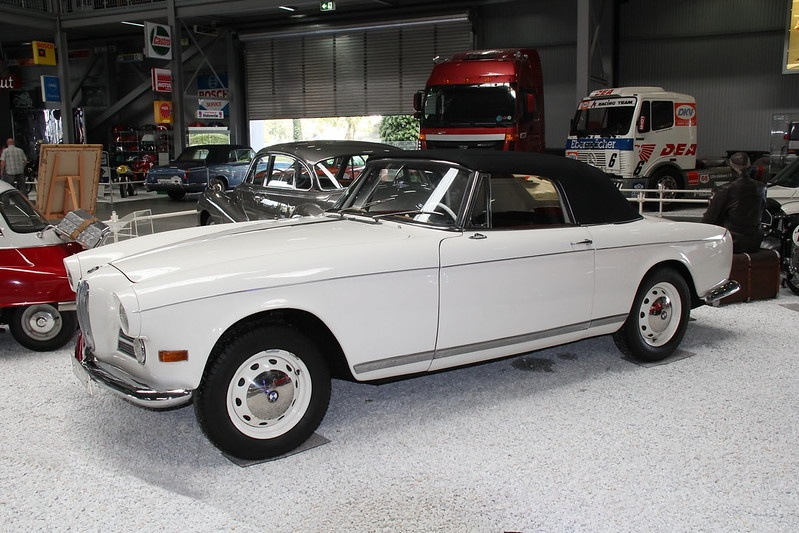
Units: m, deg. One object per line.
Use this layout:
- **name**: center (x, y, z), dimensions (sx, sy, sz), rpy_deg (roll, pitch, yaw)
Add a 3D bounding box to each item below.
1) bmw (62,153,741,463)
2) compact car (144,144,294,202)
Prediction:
- **bmw**: center (0.515, 0.058, 4.746), dimensions (5.591, 1.984, 2.360), rpy_deg (-8, 7, -15)
- **compact car**: center (-7.861, -4.397, 20.440), dimensions (2.724, 2.001, 6.125), rpy_deg (10, 18, 26)
